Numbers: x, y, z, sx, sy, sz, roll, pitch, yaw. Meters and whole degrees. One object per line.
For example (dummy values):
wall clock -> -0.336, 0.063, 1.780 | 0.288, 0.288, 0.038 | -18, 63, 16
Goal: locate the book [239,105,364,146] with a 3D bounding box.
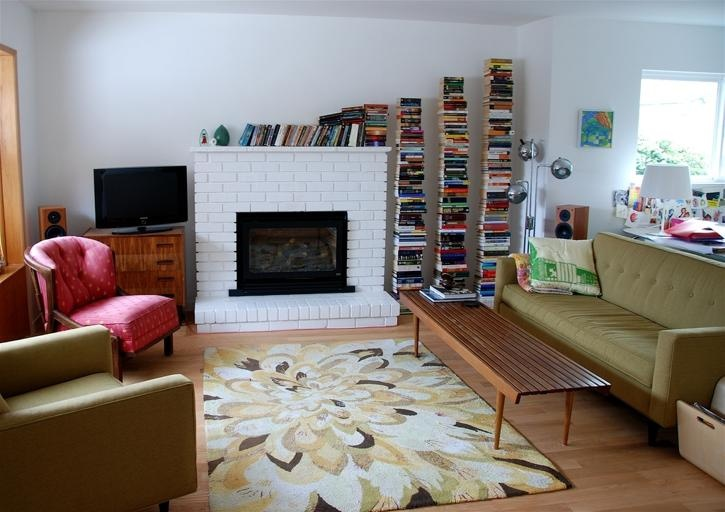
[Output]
book -> -0.602, -1.328, 5.255 | 1.231, 0.386, 0.211 | -2, 12, -9

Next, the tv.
tv -> -2.194, -0.551, 4.986 | 0.846, 0.490, 0.220 | -1, 6, -15

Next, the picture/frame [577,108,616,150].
picture/frame -> 2.464, -1.357, 5.422 | 0.543, 0.430, 0.067 | -1, 7, -12

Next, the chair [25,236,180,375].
chair -> -2.076, 0.374, 4.035 | 1.090, 0.835, 0.828 | 10, 14, -2

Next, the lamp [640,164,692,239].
lamp -> 3.122, -0.608, 5.287 | 0.451, 0.662, 0.502 | 6, 13, 26

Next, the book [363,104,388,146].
book -> 0.124, -1.358, 5.306 | 0.243, 0.435, 0.145 | -1, 13, -1

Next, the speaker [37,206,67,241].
speaker -> -2.911, -0.314, 4.796 | 0.234, 0.288, 0.288 | -8, 14, -31
